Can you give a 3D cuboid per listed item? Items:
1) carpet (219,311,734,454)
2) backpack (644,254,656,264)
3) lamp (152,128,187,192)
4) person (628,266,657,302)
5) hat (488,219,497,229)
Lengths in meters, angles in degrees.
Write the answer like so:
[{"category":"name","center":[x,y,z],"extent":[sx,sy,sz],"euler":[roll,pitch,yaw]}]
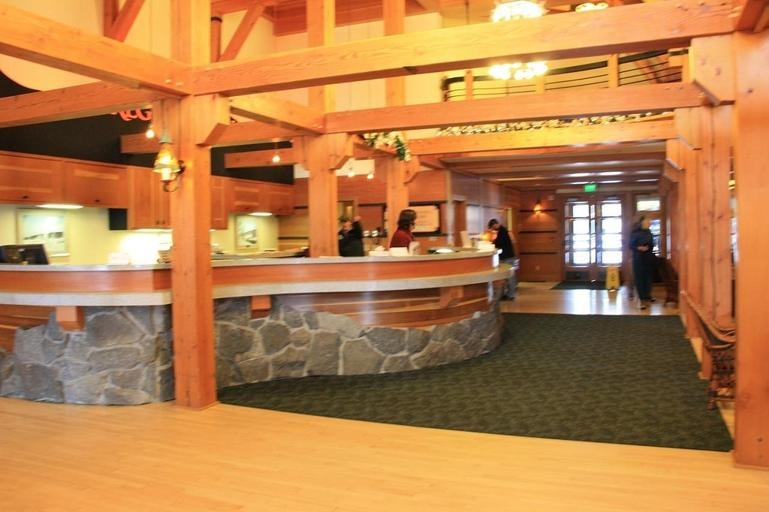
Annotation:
[{"category":"carpet","center":[1.901,1.450,7.345],"extent":[4.709,0.214,4.822],"euler":[3,8,26]},{"category":"backpack","center":[5.840,0.057,12.255],"extent":[0.146,0.284,0.502],"euler":[8,12,38]},{"category":"lamp","center":[-2.299,-1.019,5.948],"extent":[0.311,0.668,0.401],"euler":[-6,13,-16]},{"category":"person","center":[5.642,0.571,12.095],"extent":[0.446,0.902,0.595],"euler":[1,12,16]},{"category":"hat","center":[2.685,-0.779,13.794],"extent":[0.174,0.221,0.280],"euler":[-1,10,5]}]
